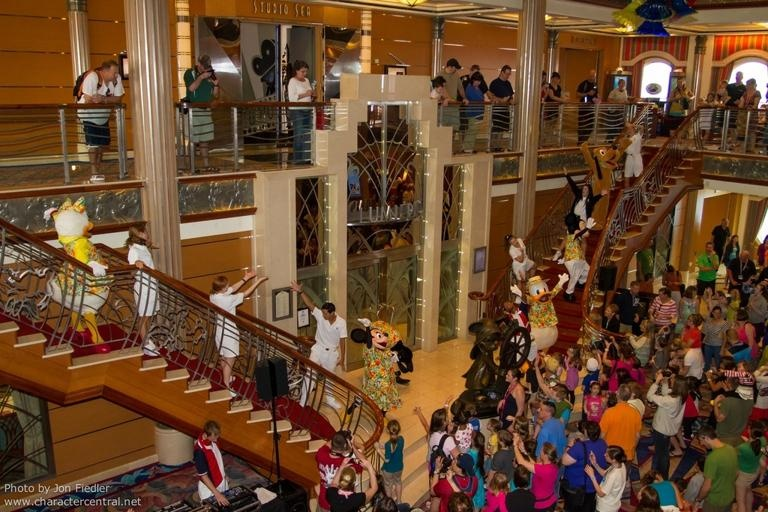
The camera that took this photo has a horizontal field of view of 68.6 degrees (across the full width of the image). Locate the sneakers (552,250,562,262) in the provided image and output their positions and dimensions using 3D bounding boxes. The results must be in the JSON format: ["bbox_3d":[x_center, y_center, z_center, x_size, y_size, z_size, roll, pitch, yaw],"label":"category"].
[{"bbox_3d":[4.286,-0.015,13.885,0.218,0.215,0.103,-31,41,-6],"label":"sneakers"}]

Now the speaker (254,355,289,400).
[{"bbox_3d":[-1.480,1.625,7.411,0.415,0.583,0.175,-7,14,-19],"label":"speaker"}]

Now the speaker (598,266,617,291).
[{"bbox_3d":[4.817,0.478,12.087,0.474,0.606,0.275,-11,16,-31],"label":"speaker"}]

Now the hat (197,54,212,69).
[{"bbox_3d":[-3.188,-3.444,9.974,0.211,0.240,0.604,-7,16,-18],"label":"hat"}]

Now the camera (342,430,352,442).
[{"bbox_3d":[-0.446,2.255,6.989,0.060,0.179,0.075,-12,24,-4],"label":"camera"}]

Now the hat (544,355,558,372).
[{"bbox_3d":[2.746,1.768,9.154,0.205,0.235,0.253,4,16,23],"label":"hat"}]

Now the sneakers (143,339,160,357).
[{"bbox_3d":[-3.192,1.255,7.812,0.264,0.267,0.166,1,16,-8],"label":"sneakers"}]

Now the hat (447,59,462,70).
[{"bbox_3d":[1.630,-4.515,13.166,0.250,0.274,0.743,1,15,11],"label":"hat"}]
